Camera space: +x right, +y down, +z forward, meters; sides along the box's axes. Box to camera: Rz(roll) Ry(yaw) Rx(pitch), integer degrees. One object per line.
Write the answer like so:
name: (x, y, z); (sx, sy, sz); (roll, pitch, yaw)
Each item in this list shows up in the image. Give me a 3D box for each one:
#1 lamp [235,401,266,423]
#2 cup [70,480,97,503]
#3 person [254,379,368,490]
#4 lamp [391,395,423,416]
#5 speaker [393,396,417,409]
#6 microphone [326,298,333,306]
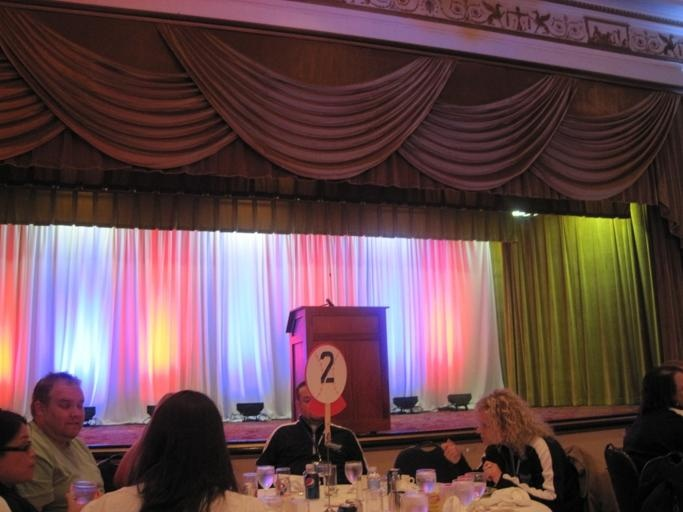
lamp: (-1.318, 2.328, 9.661); (0.402, 0.323, 0.234); (6, -15, -27)
cup: (-1.781, 1.611, 4.694); (0.130, 0.123, 0.132); (2, -8, 0)
person: (-0.315, 1.807, 6.761); (0.959, 1.090, 0.592); (5, -22, -21)
lamp: (0.919, 2.301, 10.173); (0.374, 0.309, 0.227); (3, -13, -14)
speaker: (0.938, 2.219, 10.181); (0.353, 0.199, 0.245); (-2, -9, 3)
microphone: (-0.159, 0.602, 8.688); (0.054, 0.081, 0.199); (-2, -12, -2)
